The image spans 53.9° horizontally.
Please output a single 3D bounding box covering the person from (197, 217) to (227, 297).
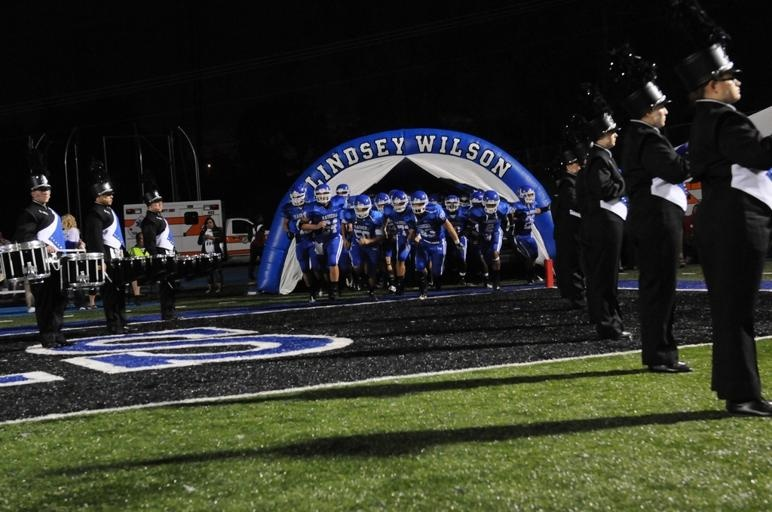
[{"bbox_3d":[-4.688,-0.069,20.353,0.845,2.031,0.720,-6,-12,7],"label":"person"}]

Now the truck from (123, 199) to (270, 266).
[{"bbox_3d":[-6.152,-0.736,26.755,5.102,2.114,2.301,-3,-6,13],"label":"truck"}]

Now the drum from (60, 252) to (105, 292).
[{"bbox_3d":[-3.932,0.188,9.941,0.549,0.337,0.521,-1,-1,0],"label":"drum"}]

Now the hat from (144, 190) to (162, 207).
[{"bbox_3d":[-3.867,-0.967,12.564,0.340,0.148,0.247,-12,10,7],"label":"hat"}]

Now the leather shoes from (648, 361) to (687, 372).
[{"bbox_3d":[2.577,0.981,6.835,0.228,0.075,0.122,-6,-4,11],"label":"leather shoes"}]

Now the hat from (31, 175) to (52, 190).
[{"bbox_3d":[-4.812,-1.023,10.514,0.236,0.230,0.360,-5,6,-17],"label":"hat"}]
